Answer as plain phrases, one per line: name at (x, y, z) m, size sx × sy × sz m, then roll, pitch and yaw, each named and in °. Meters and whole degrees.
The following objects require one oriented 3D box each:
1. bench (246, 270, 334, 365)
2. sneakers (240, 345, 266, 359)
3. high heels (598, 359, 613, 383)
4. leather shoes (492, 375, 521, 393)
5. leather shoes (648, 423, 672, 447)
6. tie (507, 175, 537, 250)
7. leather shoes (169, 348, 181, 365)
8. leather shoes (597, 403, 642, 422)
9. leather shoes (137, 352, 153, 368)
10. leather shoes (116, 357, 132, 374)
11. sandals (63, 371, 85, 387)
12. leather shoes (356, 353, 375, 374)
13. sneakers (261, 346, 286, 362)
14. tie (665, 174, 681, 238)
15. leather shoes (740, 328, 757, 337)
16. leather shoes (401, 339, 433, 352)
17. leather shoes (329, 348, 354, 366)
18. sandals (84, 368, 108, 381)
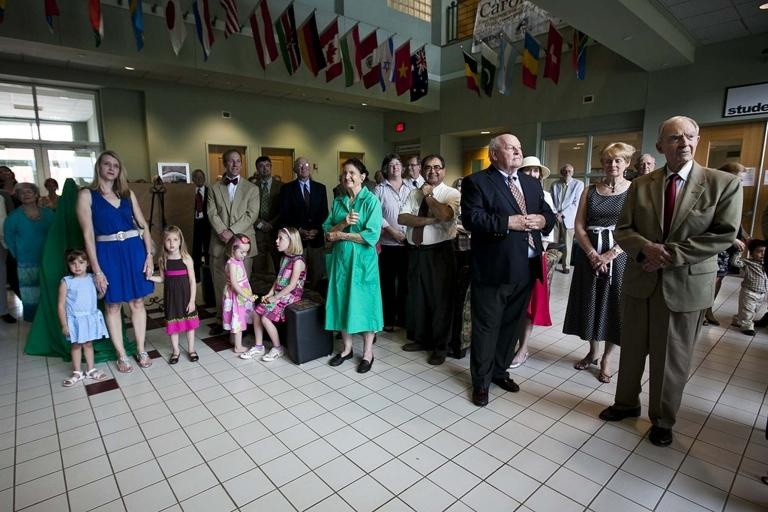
bench at (-1.068, 0.653, 5.256) m, size 0.635 × 0.830 × 1.110 m, roll -11°, pitch 21°, yaw -26°
sneakers at (-1.507, 1.106, 5.253) m, size 0.306 × 0.132 × 0.111 m, roll -1°, pitch 5°, yaw -35°
high heels at (2.304, 1.219, 4.727) m, size 0.093 × 0.122 × 0.310 m, roll -6°, pitch 7°, yaw 34°
leather shoes at (1.240, 1.281, 4.626) m, size 0.121 × 0.140 × 0.329 m, roll -15°, pitch 14°, yaw -39°
leather shoes at (2.409, 1.573, 3.954) m, size 0.103 × 0.116 × 0.280 m, roll -5°, pitch -2°, yaw 30°
tie at (1.298, -0.411, 4.315) m, size 0.141 × 0.699 × 0.269 m, roll -11°, pitch 15°, yaw -37°
leather shoes at (-2.373, 1.142, 5.097) m, size 0.073 × 0.057 × 0.198 m, roll -2°, pitch 7°, yaw -13°
leather shoes at (2.234, 1.461, 4.262) m, size 0.400 × 0.174 × 0.151 m, roll -1°, pitch 7°, yaw 3°
leather shoes at (-2.667, 1.151, 5.032) m, size 0.213 × 0.090 × 0.099 m, roll 25°, pitch 16°, yaw 41°
leather shoes at (-2.836, 1.186, 4.921) m, size 0.107 × 0.089 × 0.207 m, roll -2°, pitch 13°, yaw -40°
sandals at (-3.246, 1.286, 4.732) m, size 0.104 × 0.083 × 0.195 m, roll 0°, pitch -2°, yaw 5°
leather shoes at (-0.217, 1.193, 4.907) m, size 0.086 × 0.071 × 0.239 m, roll 1°, pitch 6°, yaw 19°
sneakers at (-1.273, 1.120, 5.192) m, size 0.099 × 0.109 × 0.256 m, roll 2°, pitch 3°, yaw 33°
tie at (2.446, -0.461, 3.883) m, size 0.091 × 0.623 × 0.086 m, roll 9°, pitch -1°, yaw 30°
leather shoes at (4.608, 0.970, 5.739) m, size 0.065 × 0.075 × 0.174 m, roll -6°, pitch 11°, yaw -19°
leather shoes at (0.379, 1.060, 5.362) m, size 0.376 × 0.152 × 0.134 m, roll 5°, pitch 2°, yaw 6°
leather shoes at (-0.484, 1.147, 5.066) m, size 0.108 × 0.105 × 0.290 m, roll -1°, pitch 0°, yaw 43°
sandals at (-3.054, 1.256, 4.813) m, size 0.233 × 0.100 × 0.113 m, roll 3°, pitch 5°, yaw 14°
